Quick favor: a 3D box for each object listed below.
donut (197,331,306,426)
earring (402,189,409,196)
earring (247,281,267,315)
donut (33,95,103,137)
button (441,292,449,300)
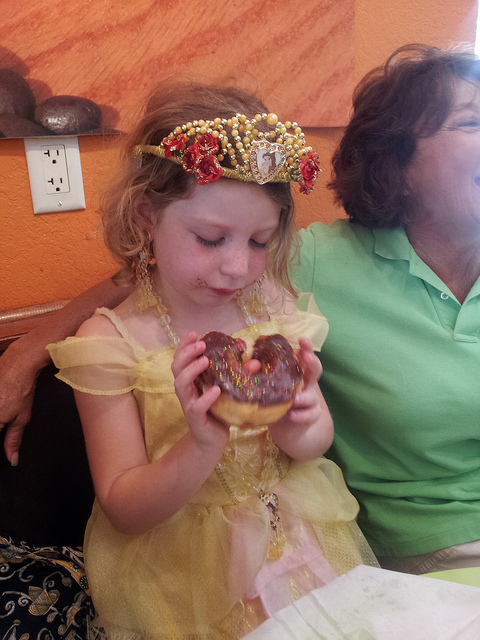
[{"bbox_3d":[0.016,0.065,0.636,0.120,0.108,0.071,-5,-4,-22],"label":"donut"},{"bbox_3d":[0.294,-0.225,0.980,0.011,0.009,0.003,-12,-17,7],"label":"earring"},{"bbox_3d":[0.035,-0.039,0.950,0.041,0.049,0.014,-3,-6,-6],"label":"earring"},{"bbox_3d":[-0.329,-0.400,1.102,0.136,0.068,0.159,1,14,-35],"label":"donut"},{"bbox_3d":[0.360,-0.042,0.972,0.012,0.010,0.006,-6,-4,-5],"label":"button"}]
